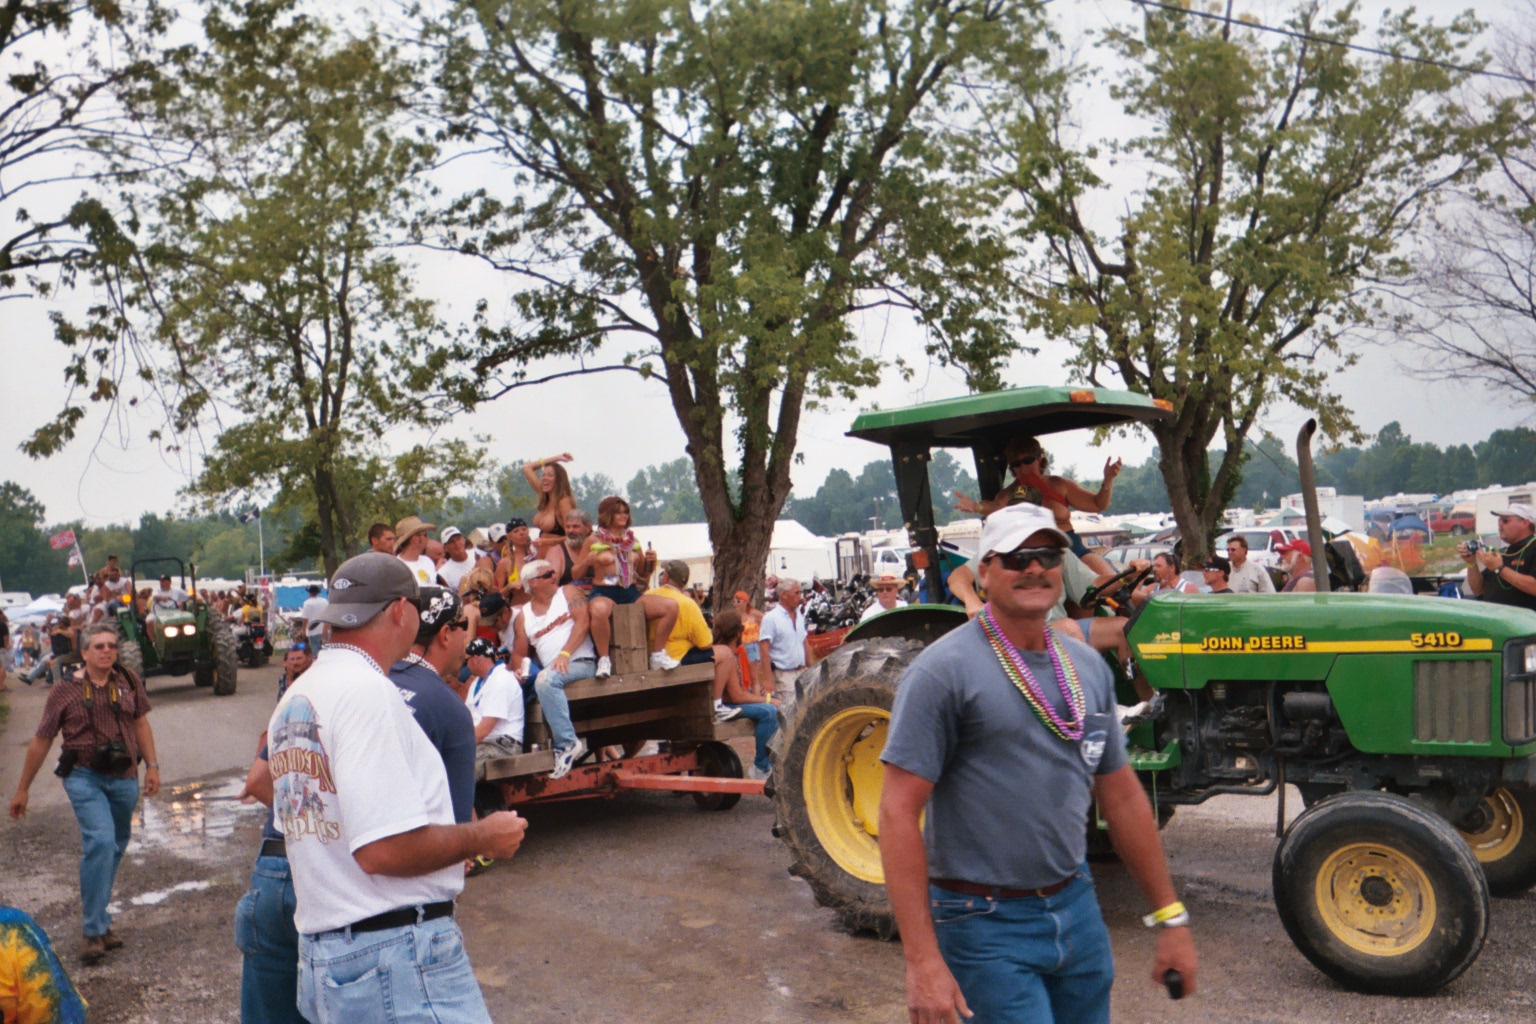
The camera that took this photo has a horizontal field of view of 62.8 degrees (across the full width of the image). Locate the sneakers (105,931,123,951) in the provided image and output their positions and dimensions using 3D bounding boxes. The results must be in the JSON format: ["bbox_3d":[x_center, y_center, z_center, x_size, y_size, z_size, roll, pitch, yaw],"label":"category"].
[{"bbox_3d":[-4.730,3.075,9.076,0.134,0.082,0.431,-1,-4,-29],"label":"sneakers"}]

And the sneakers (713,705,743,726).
[{"bbox_3d":[-0.402,1.896,11.834,0.300,0.147,0.107,-4,1,1],"label":"sneakers"}]

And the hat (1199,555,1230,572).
[{"bbox_3d":[4.898,0.562,13.787,0.228,0.180,0.336,11,-1,16],"label":"hat"}]

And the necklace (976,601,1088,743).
[{"bbox_3d":[1.088,0.662,5.229,0.096,0.560,0.390,-39,-18,35],"label":"necklace"}]

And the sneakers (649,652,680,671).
[{"bbox_3d":[-0.981,1.356,11.553,0.283,0.185,0.112,-3,1,-16],"label":"sneakers"}]

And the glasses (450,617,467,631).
[{"bbox_3d":[-1.495,0.535,6.036,0.082,0.031,0.067,0,4,14],"label":"glasses"}]

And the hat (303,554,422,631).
[{"bbox_3d":[-1.714,0.303,5.340,0.337,0.275,0.508,0,9,33],"label":"hat"}]

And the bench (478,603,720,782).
[{"bbox_3d":[-1.448,1.787,11.902,1.577,0.978,1.574,-1,-13,-36],"label":"bench"}]

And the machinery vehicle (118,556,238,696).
[{"bbox_3d":[-11.777,2.125,24.184,2.313,2.623,3.862,-6,3,-33],"label":"machinery vehicle"}]

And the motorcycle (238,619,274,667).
[{"bbox_3d":[-12.260,3.173,30.113,0.737,0.739,1.142,0,-3,-35],"label":"motorcycle"}]

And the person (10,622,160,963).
[{"bbox_3d":[-5.018,1.996,9.336,0.861,2.346,1.183,-2,-2,-29],"label":"person"}]

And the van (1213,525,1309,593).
[{"bbox_3d":[7.145,0.653,18.350,0.911,0.883,1.926,-7,-12,41],"label":"van"}]

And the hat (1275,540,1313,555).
[{"bbox_3d":[6.116,0.410,14.733,0.262,0.159,0.417,0,5,-15],"label":"hat"}]

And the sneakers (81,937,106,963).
[{"bbox_3d":[-4.729,3.071,8.827,0.160,0.130,0.326,-1,-4,-30],"label":"sneakers"}]

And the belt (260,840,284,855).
[{"bbox_3d":[-2.261,1.522,5.721,0.097,0.074,0.071,1,-8,-3],"label":"belt"}]
